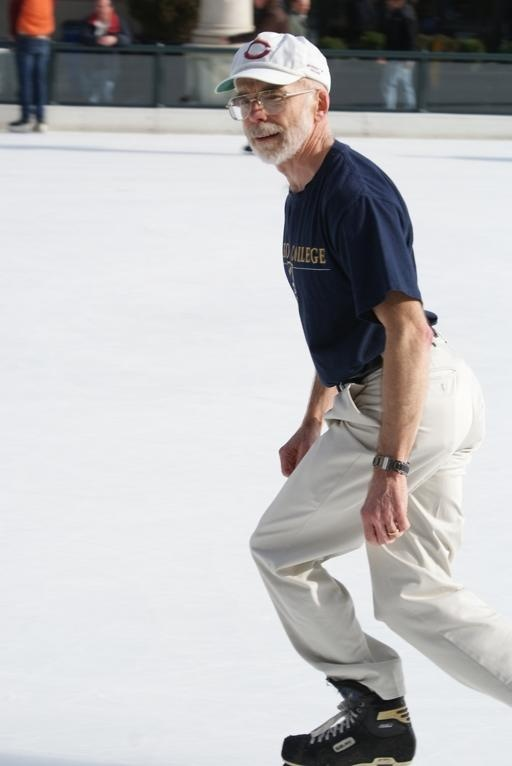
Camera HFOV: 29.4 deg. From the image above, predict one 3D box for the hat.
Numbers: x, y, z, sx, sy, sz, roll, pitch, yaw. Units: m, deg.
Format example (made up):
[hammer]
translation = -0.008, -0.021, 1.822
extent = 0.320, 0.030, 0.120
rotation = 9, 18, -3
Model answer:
[hat]
translation = 0.045, -0.707, 2.215
extent = 0.218, 0.091, 0.151
rotation = 2, 2, -39

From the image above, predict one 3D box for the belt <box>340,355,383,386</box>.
[belt]
translation = 0.243, -0.023, 2.201
extent = 0.081, 0.026, 0.058
rotation = -36, 6, -10

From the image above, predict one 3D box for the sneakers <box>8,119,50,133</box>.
[sneakers]
translation = -3.258, -3.673, 14.039
extent = 0.585, 0.210, 0.182
rotation = 3, 10, -8

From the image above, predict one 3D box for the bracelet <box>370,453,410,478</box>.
[bracelet]
translation = 0.272, 0.166, 1.953
extent = 0.064, 0.034, 0.064
rotation = 5, -7, 27

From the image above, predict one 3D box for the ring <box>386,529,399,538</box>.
[ring]
translation = 0.275, 0.299, 1.935
extent = 0.019, 0.009, 0.023
rotation = 0, -24, -12
